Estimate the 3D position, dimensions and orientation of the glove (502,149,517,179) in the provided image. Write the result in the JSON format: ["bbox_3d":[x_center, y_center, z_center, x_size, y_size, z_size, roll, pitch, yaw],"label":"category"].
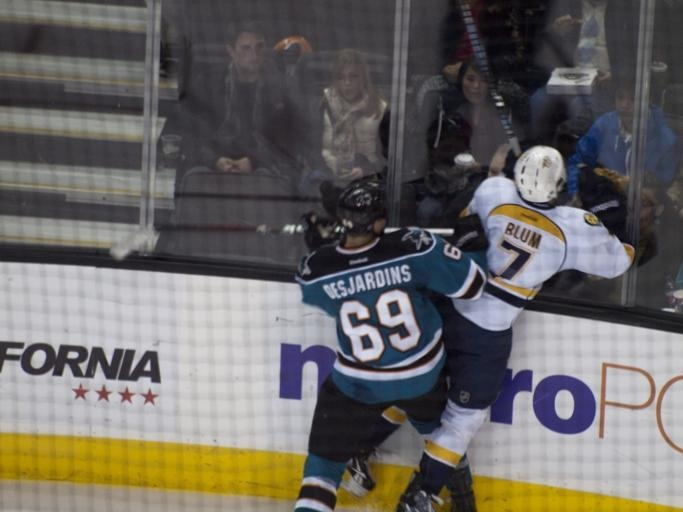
[{"bbox_3d":[0.858,-0.460,6.921,0.030,0.120,0.107,10,15,26],"label":"glove"}]

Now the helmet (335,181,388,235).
[{"bbox_3d":[0.091,-0.215,6.819,0.293,0.271,0.224,4,0,-41],"label":"helmet"}]

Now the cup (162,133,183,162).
[{"bbox_3d":[-0.870,-0.559,7.075,0.125,0.119,0.121,4,20,-1],"label":"cup"}]

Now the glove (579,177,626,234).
[{"bbox_3d":[1.325,-0.263,6.863,0.197,0.301,0.114,-12,-4,24],"label":"glove"}]

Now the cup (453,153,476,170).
[{"bbox_3d":[0.627,-0.483,6.941,0.083,0.077,0.082,1,30,-1],"label":"cup"}]

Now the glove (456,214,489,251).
[{"bbox_3d":[0.659,-0.108,6.907,0.183,0.173,0.070,-4,-24,19],"label":"glove"}]

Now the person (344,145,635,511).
[{"bbox_3d":[0.833,0.297,7.335,1.231,1.833,0.670,25,11,9],"label":"person"}]

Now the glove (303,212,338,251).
[{"bbox_3d":[-0.127,-0.118,6.935,0.196,0.183,0.074,7,4,5],"label":"glove"}]

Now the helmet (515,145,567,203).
[{"bbox_3d":[0.984,-0.400,6.735,0.237,0.284,0.262,13,-18,25],"label":"helmet"}]
